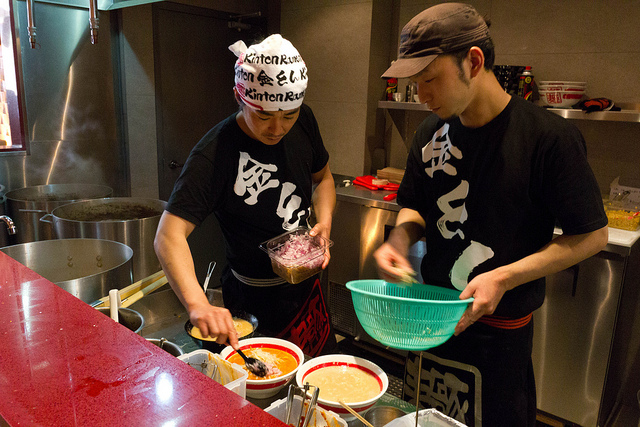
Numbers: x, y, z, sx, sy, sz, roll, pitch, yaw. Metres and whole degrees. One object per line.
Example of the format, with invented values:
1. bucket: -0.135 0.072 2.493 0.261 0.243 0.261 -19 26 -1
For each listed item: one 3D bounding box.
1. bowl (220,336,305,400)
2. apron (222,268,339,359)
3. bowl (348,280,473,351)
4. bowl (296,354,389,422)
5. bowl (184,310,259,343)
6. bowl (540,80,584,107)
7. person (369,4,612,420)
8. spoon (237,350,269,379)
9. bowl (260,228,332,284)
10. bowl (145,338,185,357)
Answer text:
1. bowl: -0.221 0.635 1.962 0.282 0.121 0.286 5 15 -1
2. apron: -0.216 0.485 2.359 0.301 0.569 0.423 -24 14 -32
3. bowl: 0.357 0.367 1.890 0.452 0.240 0.363 8 18 19
4. bowl: 0.087 0.651 1.876 0.358 0.148 0.299 -1 17 -9
5. bowl: -0.547 0.532 2.251 0.300 0.094 0.307 -13 -14 -3
6. bowl: 1.805 -0.898 3.593 0.219 0.137 0.221 3 12 -1
7. person: 0.699 0.099 2.040 0.930 1.850 0.747 10 18 25
8. spoon: -0.261 0.561 1.899 0.113 0.129 0.101 -1 17 -9
9. bowl: -0.109 0.220 2.322 0.301 0.145 0.224 -19 22 -31
10. bowl: -0.630 0.541 1.975 0.093 0.034 0.095 15 3 -1
